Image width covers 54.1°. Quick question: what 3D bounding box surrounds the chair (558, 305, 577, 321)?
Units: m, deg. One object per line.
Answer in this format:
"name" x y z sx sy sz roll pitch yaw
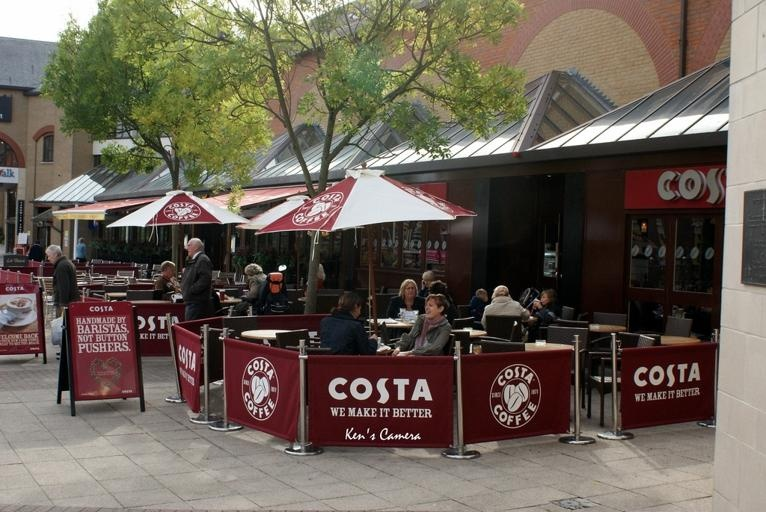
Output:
"chair" 4.227 1.319 17.077 0.323 0.616 0.322 4 -5 -11

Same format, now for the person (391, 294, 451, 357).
"person" 0.680 1.152 11.988 0.763 1.037 1.079 -4 12 -19

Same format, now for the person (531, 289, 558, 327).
"person" 3.509 1.168 16.268 0.440 1.346 0.604 5 -7 -6

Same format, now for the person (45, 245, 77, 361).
"person" -6.617 0.598 15.585 0.485 1.553 0.899 -7 13 -32

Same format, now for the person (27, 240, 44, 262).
"person" -16.807 -0.117 36.417 0.612 0.696 2.170 -6 13 -28

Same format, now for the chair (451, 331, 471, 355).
"chair" 1.358 1.493 12.790 0.324 0.489 0.395 1 -2 6

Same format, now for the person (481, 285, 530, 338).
"person" 2.523 1.183 15.576 0.890 1.888 0.649 2 15 11

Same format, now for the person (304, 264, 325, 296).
"person" -1.749 0.649 19.290 0.521 0.720 0.365 4 26 -38

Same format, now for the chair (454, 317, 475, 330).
"chair" 1.586 1.331 14.745 0.259 0.347 0.282 1 4 -17

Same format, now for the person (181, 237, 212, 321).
"person" -3.769 0.487 15.081 0.641 1.643 0.575 7 13 32

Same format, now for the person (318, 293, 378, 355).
"person" -0.592 1.165 12.626 0.702 1.285 0.759 10 16 25

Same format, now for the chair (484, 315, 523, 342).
"chair" 2.276 1.383 14.191 0.507 0.741 0.532 2 2 24

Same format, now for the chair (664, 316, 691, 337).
"chair" 5.849 1.410 14.905 0.363 0.613 0.435 1 -4 40

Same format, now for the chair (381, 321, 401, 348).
"chair" 0.125 1.525 14.309 0.429 0.669 0.458 1 3 3
